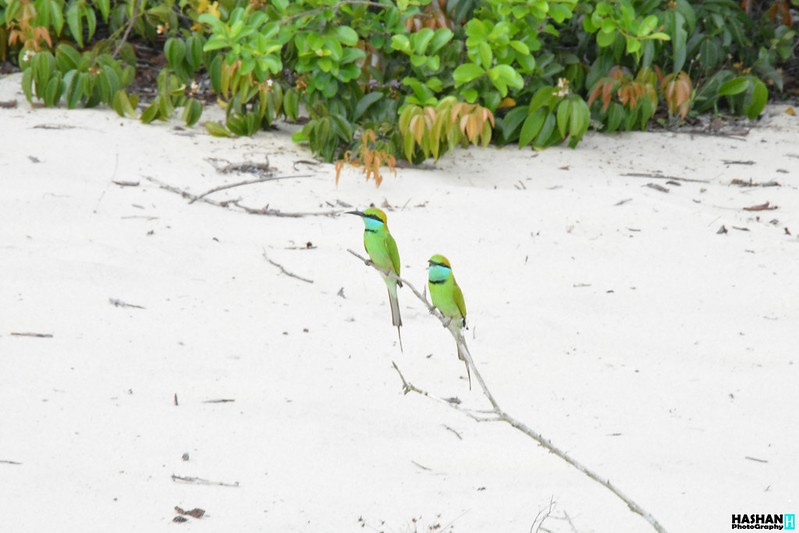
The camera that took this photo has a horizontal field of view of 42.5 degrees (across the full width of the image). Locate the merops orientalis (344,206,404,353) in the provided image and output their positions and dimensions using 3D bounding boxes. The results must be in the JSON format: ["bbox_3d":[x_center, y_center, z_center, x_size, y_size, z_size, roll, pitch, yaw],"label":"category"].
[{"bbox_3d":[-0.147,0.070,6.684,0.409,0.882,0.858,5,13,-3],"label":"merops orientalis"}]
